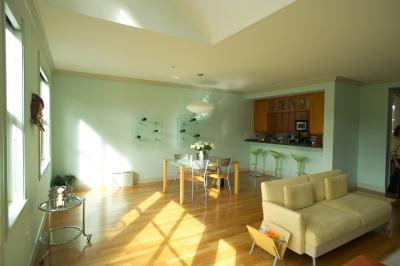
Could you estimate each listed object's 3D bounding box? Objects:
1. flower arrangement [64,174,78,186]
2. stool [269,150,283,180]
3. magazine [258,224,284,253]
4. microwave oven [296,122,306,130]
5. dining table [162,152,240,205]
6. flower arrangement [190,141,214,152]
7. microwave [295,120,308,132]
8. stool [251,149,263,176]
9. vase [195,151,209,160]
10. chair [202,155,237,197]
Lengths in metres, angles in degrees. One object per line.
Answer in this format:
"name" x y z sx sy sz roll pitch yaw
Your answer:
"flower arrangement" -3.393 1.253 7.490 0.322 0.285 0.274 -7 15 -25
"stool" 2.484 1.026 9.314 0.408 0.890 0.725 4 15 17
"magazine" 1.248 1.841 5.015 0.146 0.286 0.483 -10 17 -34
"microwave oven" 3.336 -0.228 9.356 0.192 0.199 0.281 0 4 -36
"dining table" -0.267 0.997 7.710 1.816 0.943 1.293 -3 5 -26
"flower arrangement" 0.073 0.365 7.496 0.503 0.287 0.302 6 15 23
"microwave" 3.340 -0.227 9.417 0.299 0.459 0.545 2 0 -23
"stool" 1.975 0.995 9.885 0.390 0.987 0.798 3 14 12
"vase" 0.055 0.593 7.610 0.320 0.310 0.207 1 1 17
"chair" 0.530 1.199 7.796 0.493 0.854 0.626 -1 6 44
